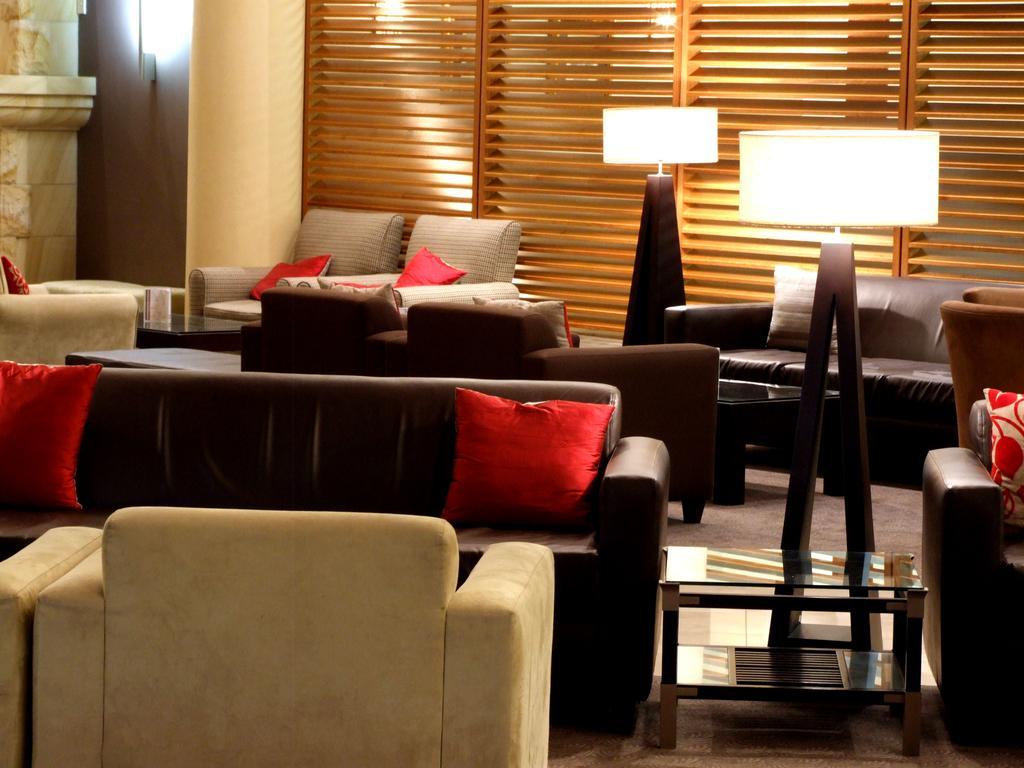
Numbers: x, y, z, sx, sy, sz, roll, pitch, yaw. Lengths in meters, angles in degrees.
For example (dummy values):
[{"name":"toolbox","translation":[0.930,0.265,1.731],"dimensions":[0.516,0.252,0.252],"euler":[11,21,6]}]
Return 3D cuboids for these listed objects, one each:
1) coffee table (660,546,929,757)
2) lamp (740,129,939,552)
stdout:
[{"name":"coffee table","translation":[0.786,0.662,2.729],"dimensions":[0.818,0.524,0.521],"euler":[0,2,6]},{"name":"lamp","translation":[0.965,-0.098,3.051],"dimensions":[0.584,1.375,0.416],"euler":[4,11,21]}]
